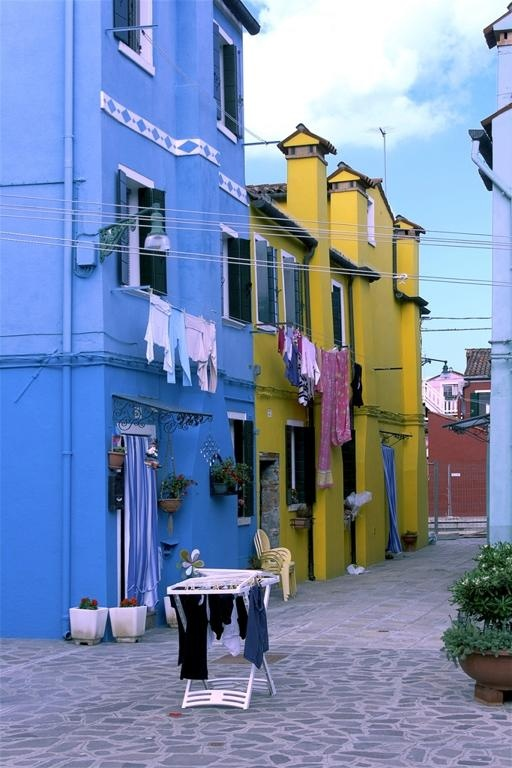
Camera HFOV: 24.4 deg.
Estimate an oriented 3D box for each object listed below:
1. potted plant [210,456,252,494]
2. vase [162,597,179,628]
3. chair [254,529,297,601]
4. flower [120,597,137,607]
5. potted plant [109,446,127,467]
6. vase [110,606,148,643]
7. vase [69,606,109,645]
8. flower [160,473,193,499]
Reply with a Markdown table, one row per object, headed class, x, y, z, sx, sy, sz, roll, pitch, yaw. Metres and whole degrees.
| class | x | y | z | sx | sy | sz | roll | pitch | yaw |
| --- | --- | --- | --- | --- | --- | --- | --- | --- | --- |
| potted plant | -0.340 | 1.196 | 15.406 | 0.402 | 0.454 | 0.558 | 4 | -3 | 13 |
| vase | -0.995 | 2.644 | 13.722 | 0.160 | 0.419 | 0.597 | 4 | 5 | -4 |
| chair | 0.229 | 2.604 | 17.085 | 0.680 | 1.391 | 0.828 | -1 | -2 | 17 |
| flower | -1.372 | 2.333 | 12.655 | 0.086 | 0.081 | 0.122 | -2 | -21 | -35 |
| potted plant | -1.504 | 0.791 | 12.833 | 0.150 | 0.150 | 0.170 | -3 | -9 | 16 |
| vase | -1.378 | 2.571 | 12.641 | 0.276 | 0.384 | 0.374 | -2 | -16 | 3 |
| vase | -1.759 | 2.539 | 12.475 | 0.306 | 0.447 | 0.355 | -1 | -14 | 5 |
| flower | -0.991 | 1.219 | 14.301 | 0.242 | 0.308 | 0.305 | -2 | -1 | 25 |
